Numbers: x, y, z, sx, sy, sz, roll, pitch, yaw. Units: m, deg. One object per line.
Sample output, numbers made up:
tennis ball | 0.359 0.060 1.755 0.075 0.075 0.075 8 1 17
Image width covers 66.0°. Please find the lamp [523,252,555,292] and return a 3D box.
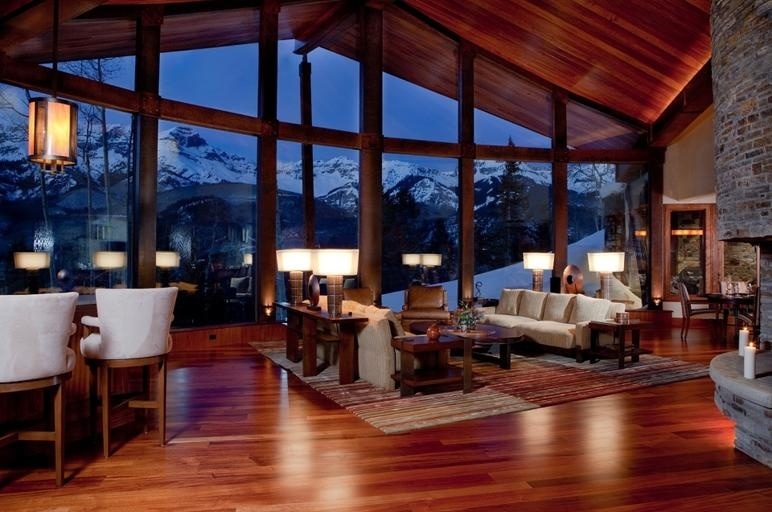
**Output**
lamp | 3.094 0.299 12.104 0.521 0.870 1.081 4 13 16

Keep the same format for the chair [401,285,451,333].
chair | 0.725 0.949 10.751 0.860 0.824 0.819 1 -8 1

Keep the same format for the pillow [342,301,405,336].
pillow | -0.201 0.903 8.444 0.305 0.228 1.238 21 -11 -18

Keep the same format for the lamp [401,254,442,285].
lamp | 0.702 0.268 12.515 0.712 0.550 0.217 0 8 -4

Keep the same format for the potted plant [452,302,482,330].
potted plant | 1.289 0.889 8.877 0.433 0.459 0.485 2 -5 -9

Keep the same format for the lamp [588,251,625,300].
lamp | 3.828 0.316 10.510 0.554 0.761 0.484 10 16 35

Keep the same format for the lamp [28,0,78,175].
lamp | -4.140 -2.010 7.292 0.546 2.011 1.579 -7 15 -27

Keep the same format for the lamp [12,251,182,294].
lamp | -4.543 0.106 9.437 2.313 0.599 0.176 -11 17 -42

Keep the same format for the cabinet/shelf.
cabinet/shelf | 0.590 1.406 7.879 1.358 0.859 0.704 1 -3 -34

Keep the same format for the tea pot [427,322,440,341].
tea pot | 0.621 1.007 7.855 0.193 0.224 0.183 2 1 0

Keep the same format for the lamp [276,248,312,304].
lamp | -1.508 0.268 9.734 0.508 0.999 1.661 -2 13 -11

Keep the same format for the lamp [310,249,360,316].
lamp | -0.730 0.388 8.378 0.979 1.123 0.822 1 -5 -9
